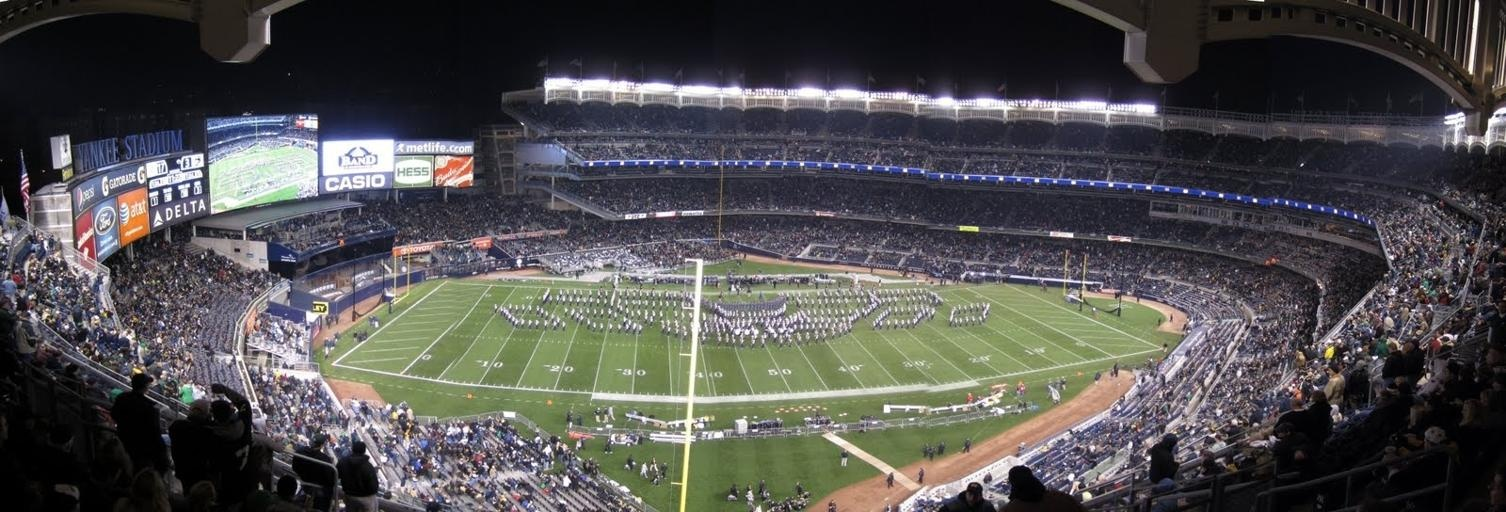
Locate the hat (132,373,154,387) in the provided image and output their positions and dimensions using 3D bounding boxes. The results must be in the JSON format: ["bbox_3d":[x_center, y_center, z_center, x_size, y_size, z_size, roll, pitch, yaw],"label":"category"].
[{"bbox_3d":[-36.453,7.479,56.351,0.851,1.081,0.437,26,-59,24],"label":"hat"}]
